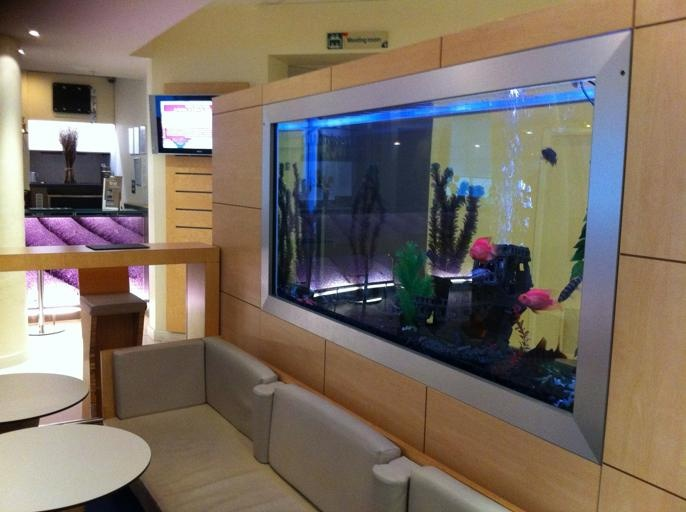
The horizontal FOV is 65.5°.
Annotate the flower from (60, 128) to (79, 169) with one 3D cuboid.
[{"bbox_3d":[-4.696,-1.856,9.118,0.265,0.693,0.782,-4,10,-28],"label":"flower"}]

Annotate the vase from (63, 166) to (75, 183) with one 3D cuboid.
[{"bbox_3d":[-4.662,-1.364,9.071,0.136,0.269,0.242,-4,10,-27],"label":"vase"}]

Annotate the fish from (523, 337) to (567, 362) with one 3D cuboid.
[{"bbox_3d":[0.726,0.341,1.916,0.007,0.085,0.151,-6,11,-40],"label":"fish"}]

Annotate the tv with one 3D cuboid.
[{"bbox_3d":[-1.681,-1.392,5.648,1.029,0.764,0.106,3,4,10],"label":"tv"}]

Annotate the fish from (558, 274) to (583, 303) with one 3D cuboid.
[{"bbox_3d":[0.780,0.117,1.837,0.005,0.105,0.075,-7,12,-43],"label":"fish"}]

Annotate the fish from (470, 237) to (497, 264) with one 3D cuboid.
[{"bbox_3d":[0.547,-0.025,2.089,0.010,0.099,0.120,-5,10,-35],"label":"fish"}]
